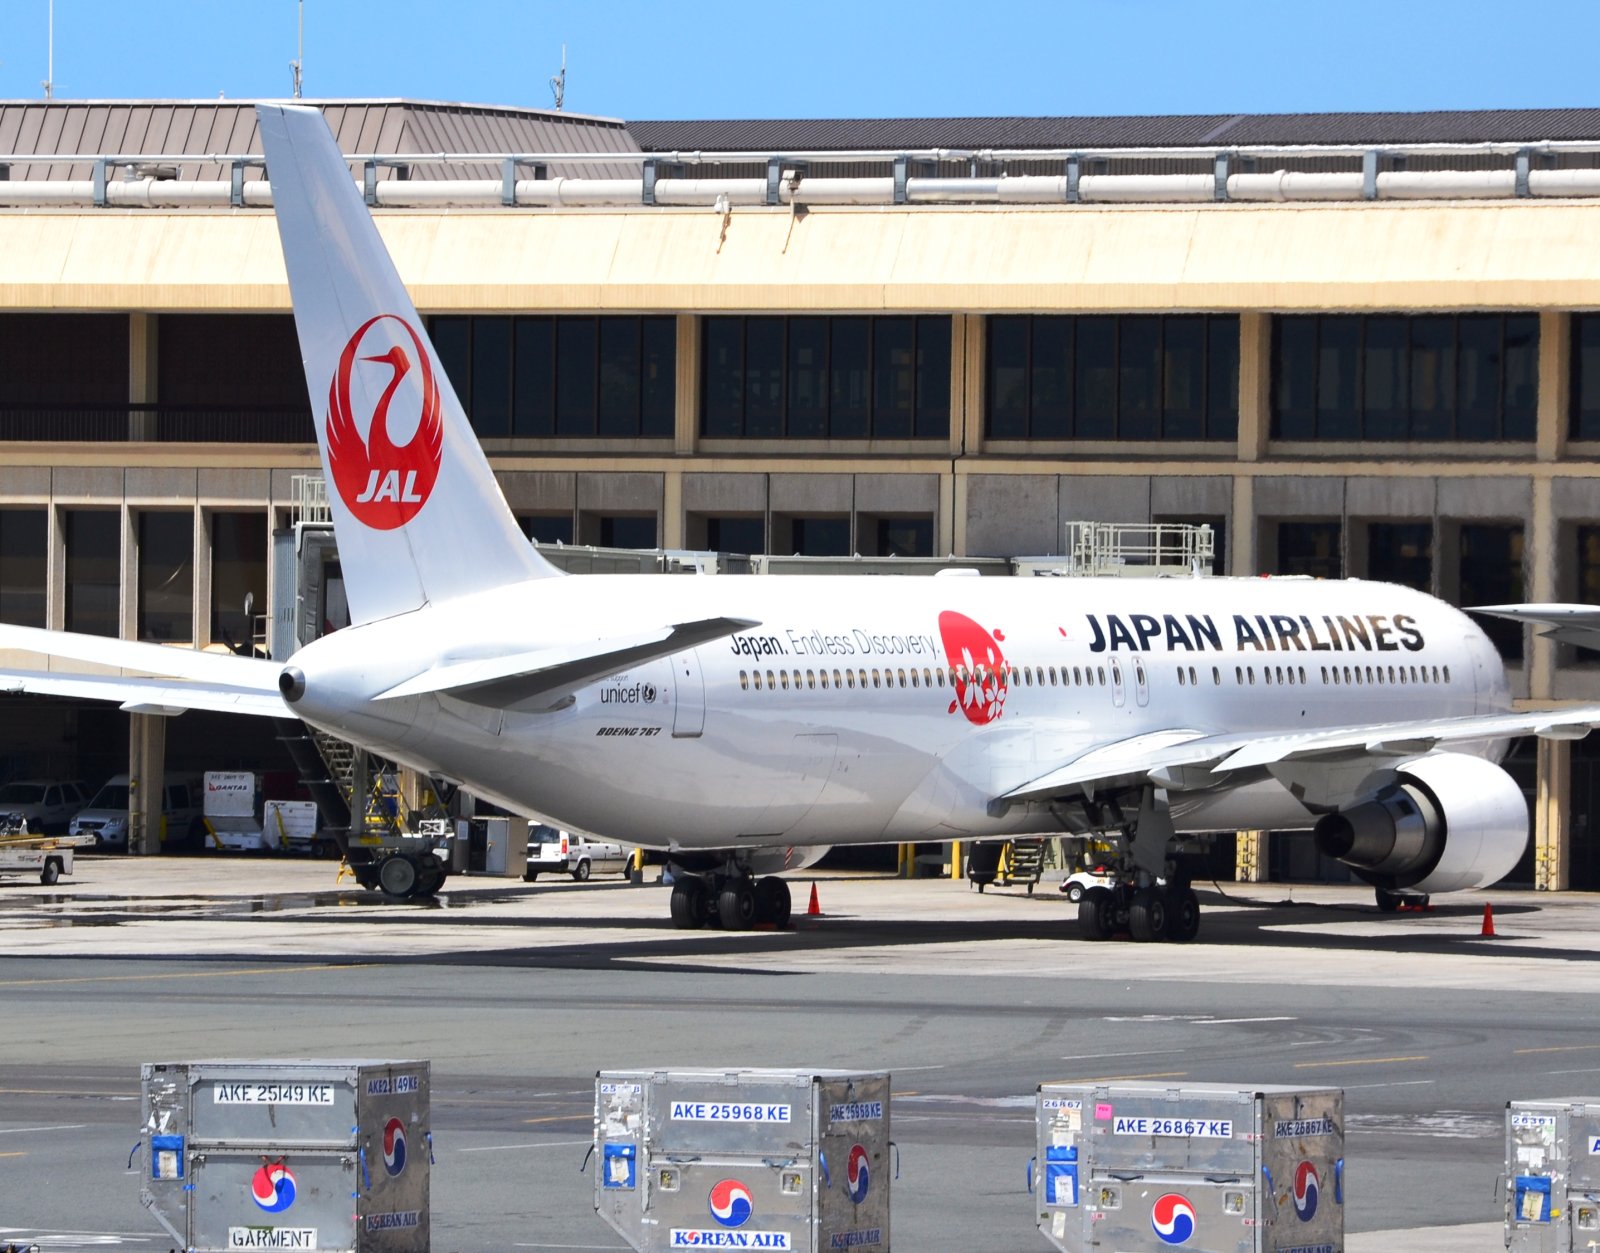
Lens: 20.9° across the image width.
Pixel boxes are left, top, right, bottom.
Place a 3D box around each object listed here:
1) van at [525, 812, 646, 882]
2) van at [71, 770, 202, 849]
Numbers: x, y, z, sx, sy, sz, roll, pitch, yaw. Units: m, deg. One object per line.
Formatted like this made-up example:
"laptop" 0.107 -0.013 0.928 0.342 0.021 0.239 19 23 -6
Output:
"van" -4.074 4.410 83.964 1.484 1.120 3.024 -1 3 40
"van" -14.824 4.141 96.492 1.423 1.198 2.590 -2 -8 15
